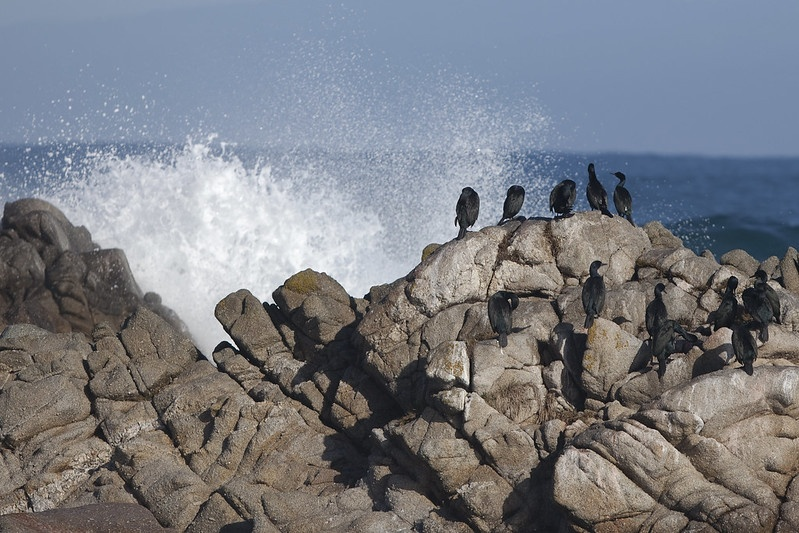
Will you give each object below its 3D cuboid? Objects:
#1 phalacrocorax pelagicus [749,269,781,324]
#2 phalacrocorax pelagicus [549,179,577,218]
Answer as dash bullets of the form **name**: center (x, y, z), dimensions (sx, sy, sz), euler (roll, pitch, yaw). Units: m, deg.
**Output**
- **phalacrocorax pelagicus**: center (13.019, 1.129, 67.219), dimensions (0.660, 2.319, 0.923), euler (-23, -32, 24)
- **phalacrocorax pelagicus**: center (5.926, -2.329, 69.017), dimensions (0.875, 1.395, 0.432), euler (6, 12, 10)
